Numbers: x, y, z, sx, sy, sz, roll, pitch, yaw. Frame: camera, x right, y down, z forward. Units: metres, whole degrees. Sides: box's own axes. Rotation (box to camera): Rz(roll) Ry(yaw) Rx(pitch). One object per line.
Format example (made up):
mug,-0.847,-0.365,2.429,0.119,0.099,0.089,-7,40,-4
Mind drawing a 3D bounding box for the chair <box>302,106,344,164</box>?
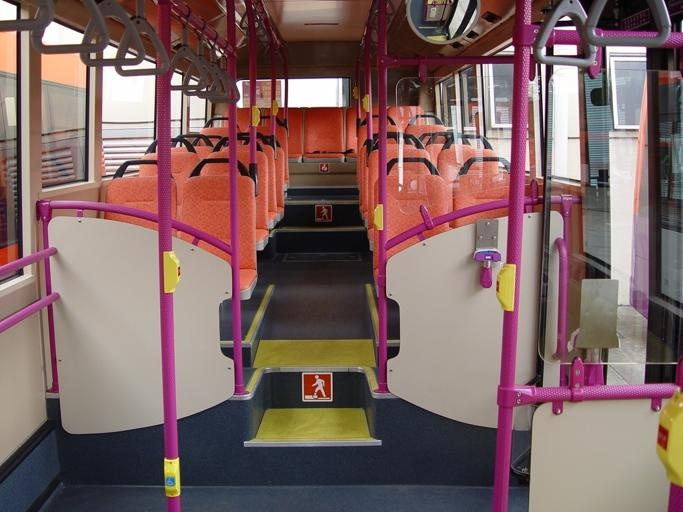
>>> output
chair,-0.333,-2.200,9.330,0.735,1.101,0.927,-1,-9,1
